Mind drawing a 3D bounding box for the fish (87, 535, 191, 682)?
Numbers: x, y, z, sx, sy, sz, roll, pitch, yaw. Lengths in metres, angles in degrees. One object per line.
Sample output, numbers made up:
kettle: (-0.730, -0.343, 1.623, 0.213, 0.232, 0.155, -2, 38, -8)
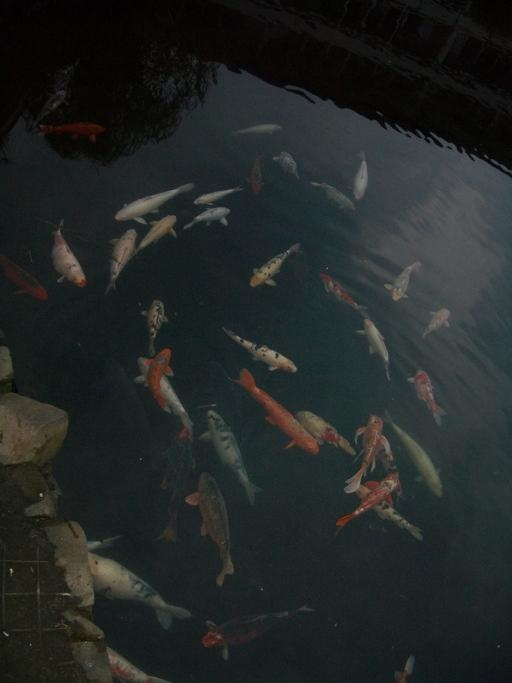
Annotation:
fish: (-1.016, 2.374, 6.555, 1.417, 0.606, 0.516, 33, -3, -17)

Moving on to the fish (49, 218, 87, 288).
fish: (-1.771, -0.821, 6.883, 0.232, 0.231, 0.595, -12, 76, -57)
